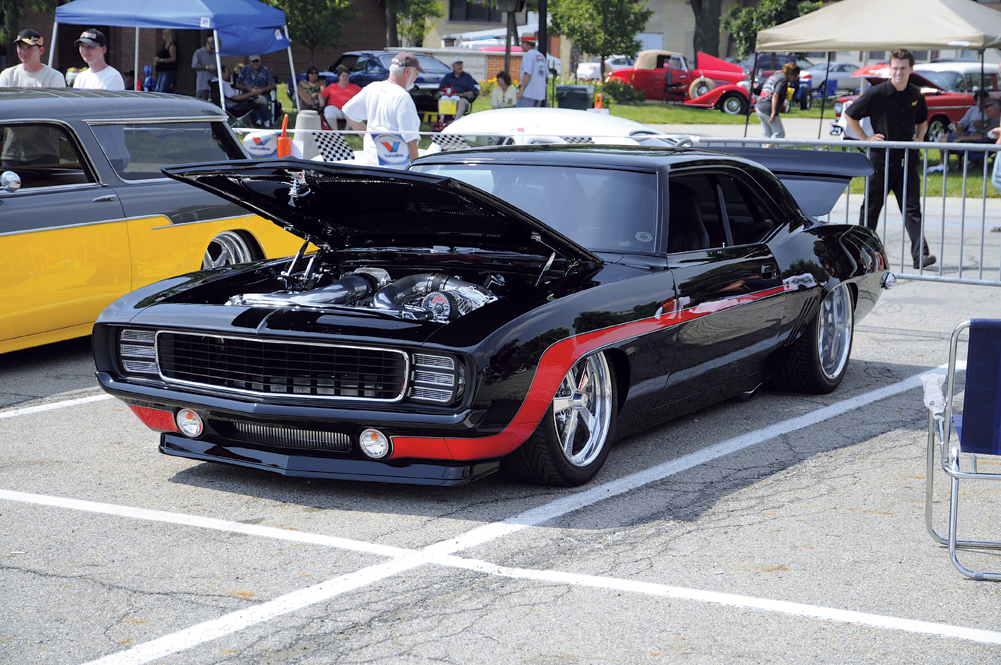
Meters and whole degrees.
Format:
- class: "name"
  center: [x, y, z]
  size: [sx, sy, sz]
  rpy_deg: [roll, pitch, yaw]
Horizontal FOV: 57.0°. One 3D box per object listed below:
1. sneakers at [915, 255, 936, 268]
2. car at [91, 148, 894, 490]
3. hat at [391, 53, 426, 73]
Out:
- class: "sneakers"
  center: [5.358, -0.870, 11.428]
  size: [0.320, 0.116, 0.114]
  rpy_deg: [-16, 46, -4]
- class: "car"
  center: [0.042, -0.189, 5.865]
  size: [4.350, 1.887, 2.035]
  rpy_deg: [-11, 16, -35]
- class: "hat"
  center: [-1.116, -3.259, 11.146]
  size: [0.426, 0.158, 0.251]
  rpy_deg: [-12, 19, -35]
